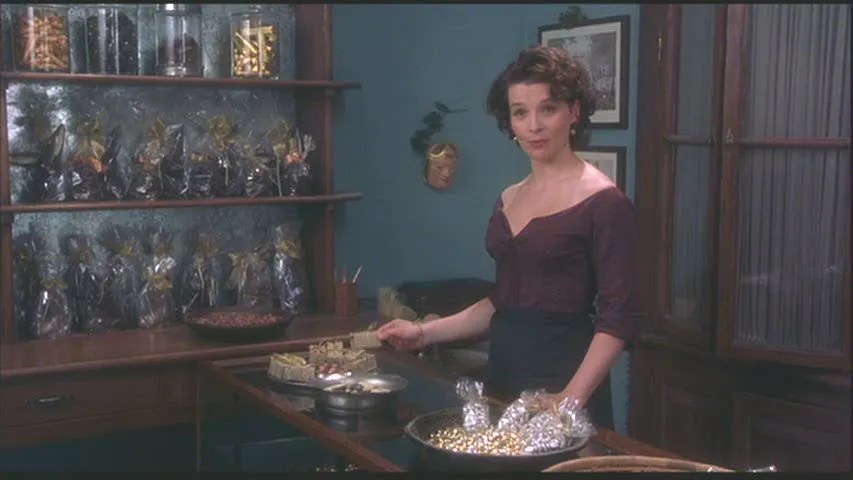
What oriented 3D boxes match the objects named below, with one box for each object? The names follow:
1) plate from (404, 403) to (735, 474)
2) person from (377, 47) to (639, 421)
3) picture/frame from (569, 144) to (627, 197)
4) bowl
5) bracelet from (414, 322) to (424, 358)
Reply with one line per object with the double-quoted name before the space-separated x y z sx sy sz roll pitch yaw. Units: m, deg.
"plate" 0.453 0.726 2.545 1.059 0.223 0.205 -1 8 4
"person" 0.416 -0.063 2.838 0.825 1.360 0.362 3 10 36
"picture/frame" 0.707 -0.305 3.067 0.214 0.168 0.014 -1 1 10
"bowl" -0.279 0.581 2.785 0.284 0.075 0.275 -1 6 0
"bracelet" -0.029 0.415 3.004 0.044 0.112 0.092 3 -2 -1
